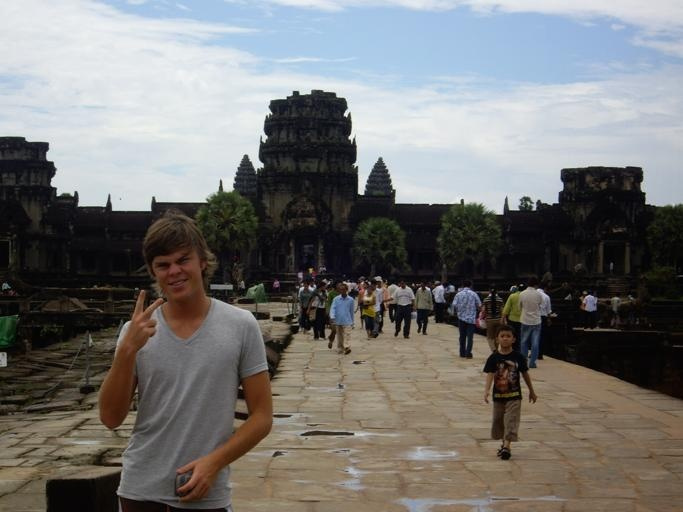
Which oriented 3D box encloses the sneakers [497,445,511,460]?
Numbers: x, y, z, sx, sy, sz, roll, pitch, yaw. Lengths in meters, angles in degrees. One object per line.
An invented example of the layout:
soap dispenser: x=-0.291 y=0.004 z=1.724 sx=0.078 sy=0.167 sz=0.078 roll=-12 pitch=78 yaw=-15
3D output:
sneakers: x=1.951 y=2.325 z=10.134 sx=0.157 sy=0.149 sz=0.260 roll=1 pitch=0 yaw=10

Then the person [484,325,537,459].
person: x=2.087 y=1.623 z=10.456 sx=0.613 sy=1.588 sz=0.929 roll=1 pitch=0 yaw=10
